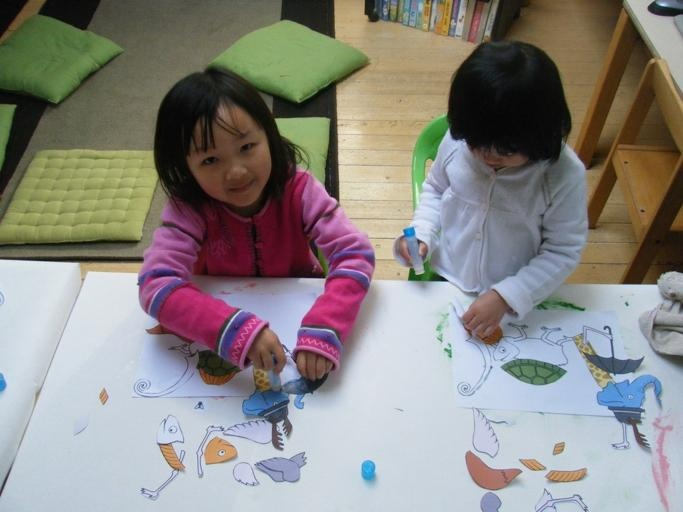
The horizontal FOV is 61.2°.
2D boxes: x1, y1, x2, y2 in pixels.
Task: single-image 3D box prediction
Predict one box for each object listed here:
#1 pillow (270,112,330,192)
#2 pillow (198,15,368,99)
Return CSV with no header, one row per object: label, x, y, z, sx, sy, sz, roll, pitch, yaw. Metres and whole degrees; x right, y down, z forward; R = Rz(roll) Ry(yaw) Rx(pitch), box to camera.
pillow,-0.162,-0.461,2.413,0.269,0.070,0.334,6,73,-39
pillow,-0.242,-0.927,2.737,0.531,0.157,0.561,34,57,24
